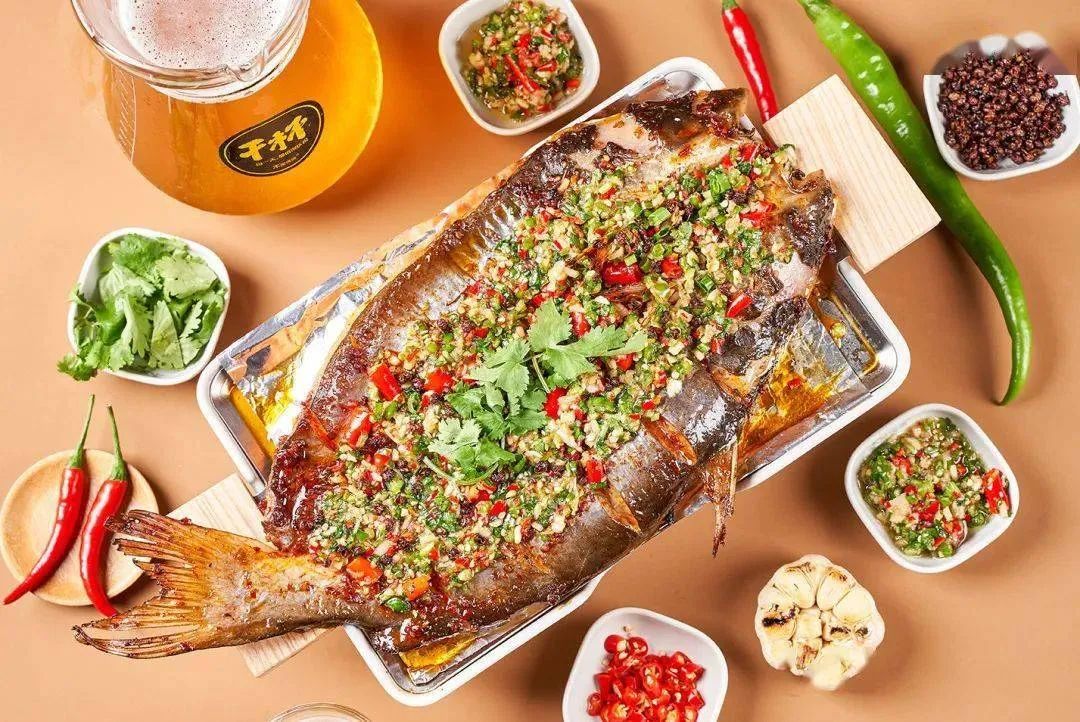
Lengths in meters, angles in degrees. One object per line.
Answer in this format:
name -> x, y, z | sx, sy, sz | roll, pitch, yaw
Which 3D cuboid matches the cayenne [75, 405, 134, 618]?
cayenne -> -2.418, 0.860, 5.555 | 0.129, 0.226, 1.157 | 13, 96, 22
